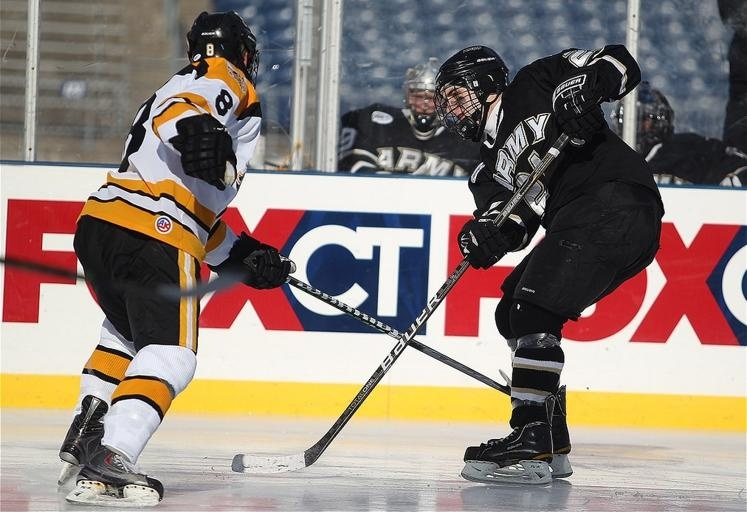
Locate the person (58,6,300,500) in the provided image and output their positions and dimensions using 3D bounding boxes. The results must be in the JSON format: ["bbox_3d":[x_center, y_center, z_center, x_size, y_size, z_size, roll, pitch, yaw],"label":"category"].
[{"bbox_3d":[-1.010,0.090,5.787,0.795,2.217,0.457,5,0,-2],"label":"person"}]

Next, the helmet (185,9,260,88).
[{"bbox_3d":[-0.697,-1.005,5.883,0.333,0.347,0.386,4,5,14],"label":"helmet"}]

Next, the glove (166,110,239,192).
[{"bbox_3d":[-0.760,-0.479,5.583,0.279,0.328,0.104,-21,10,7],"label":"glove"}]

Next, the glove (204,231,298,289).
[{"bbox_3d":[-0.597,0.044,6.132,0.378,0.168,0.208,24,36,-16],"label":"glove"}]

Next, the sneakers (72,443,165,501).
[{"bbox_3d":[-1.158,1.010,5.709,0.521,0.261,0.180,1,-2,-3],"label":"sneakers"}]

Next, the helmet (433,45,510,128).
[{"bbox_3d":[0.542,-0.834,6.380,0.482,0.389,0.350,-11,-9,6],"label":"helmet"}]

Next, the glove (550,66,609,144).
[{"bbox_3d":[0.990,-0.726,5.986,0.262,0.378,0.170,5,0,6],"label":"glove"}]

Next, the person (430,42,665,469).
[{"bbox_3d":[0.826,0.013,6.174,1.064,2.107,0.430,5,0,27],"label":"person"}]
